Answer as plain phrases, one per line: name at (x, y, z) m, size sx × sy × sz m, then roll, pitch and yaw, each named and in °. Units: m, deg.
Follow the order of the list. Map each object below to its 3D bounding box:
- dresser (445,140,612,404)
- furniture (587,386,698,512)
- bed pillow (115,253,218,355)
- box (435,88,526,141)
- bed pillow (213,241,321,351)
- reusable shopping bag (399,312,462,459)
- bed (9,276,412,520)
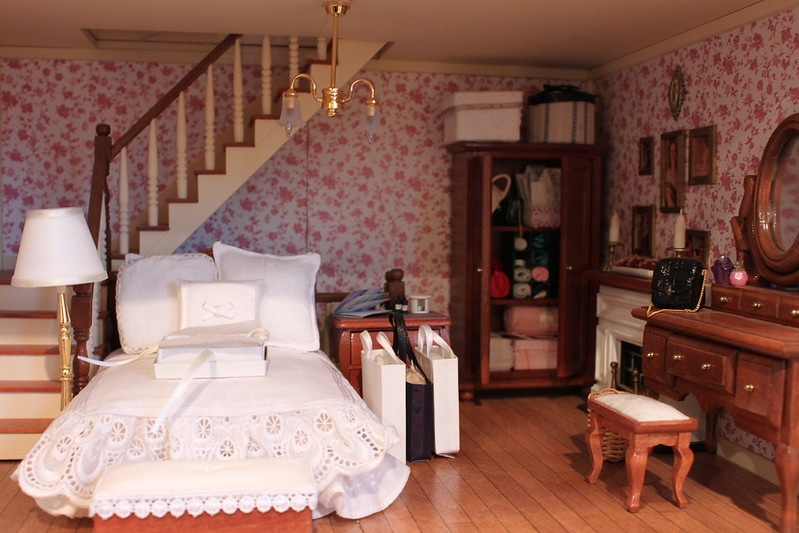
dresser at (1.076, 0.035, 5.452) m, size 1.366 × 2.190 × 0.807 m, roll 1°, pitch 12°, yaw 4°
furniture at (1.504, 1.170, 3.904) m, size 0.366 × 0.576 × 0.648 m, roll -3°, pitch 9°, yaw -18°
bed pillow at (-1.557, 0.272, 4.124) m, size 0.664 × 0.661 × 0.236 m, roll 0°, pitch -12°, yaw -7°
box at (0.697, -1.254, 5.366) m, size 0.524 × 0.316 × 0.517 m, roll 0°, pitch 2°, yaw -7°
bed pillow at (-0.939, 0.229, 4.310) m, size 0.930 × 0.910 × 0.270 m, roll 1°, pitch -26°, yaw -23°
reusable shopping bag at (0.193, 0.863, 4.349) m, size 0.320 × 0.886 × 0.897 m, roll -2°, pitch 6°, yaw -9°
bed at (-1.000, 1.070, 3.663) m, size 2.100 × 0.808 × 0.610 m, roll -1°, pitch 12°, yaw -7°
